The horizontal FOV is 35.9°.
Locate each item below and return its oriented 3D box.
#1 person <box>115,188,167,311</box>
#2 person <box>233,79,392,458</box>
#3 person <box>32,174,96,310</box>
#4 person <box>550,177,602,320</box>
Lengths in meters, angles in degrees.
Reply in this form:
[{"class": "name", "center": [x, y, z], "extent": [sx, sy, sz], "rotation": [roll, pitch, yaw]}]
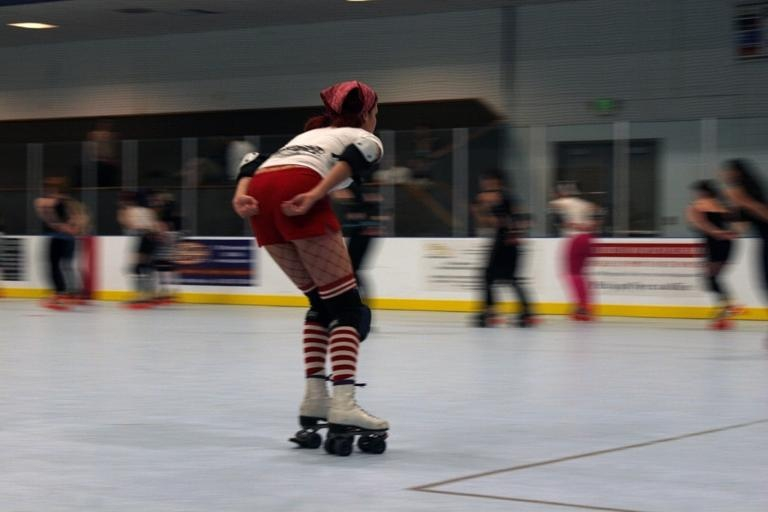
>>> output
[{"class": "person", "center": [-3.622, -0.115, 18.028], "extent": [0.648, 1.727, 0.751], "rotation": [2, 2, -8]}, {"class": "person", "center": [-0.476, 0.233, 8.189], "extent": [1.148, 2.257, 0.476], "rotation": [2, 2, 8]}, {"class": "person", "center": [-5.100, -0.229, 17.982], "extent": [1.108, 2.005, 0.982], "rotation": [2, 11, 21]}, {"class": "person", "center": [2.516, -0.070, 15.625], "extent": [0.581, 1.801, 0.958], "rotation": [3, 2, 8]}]
